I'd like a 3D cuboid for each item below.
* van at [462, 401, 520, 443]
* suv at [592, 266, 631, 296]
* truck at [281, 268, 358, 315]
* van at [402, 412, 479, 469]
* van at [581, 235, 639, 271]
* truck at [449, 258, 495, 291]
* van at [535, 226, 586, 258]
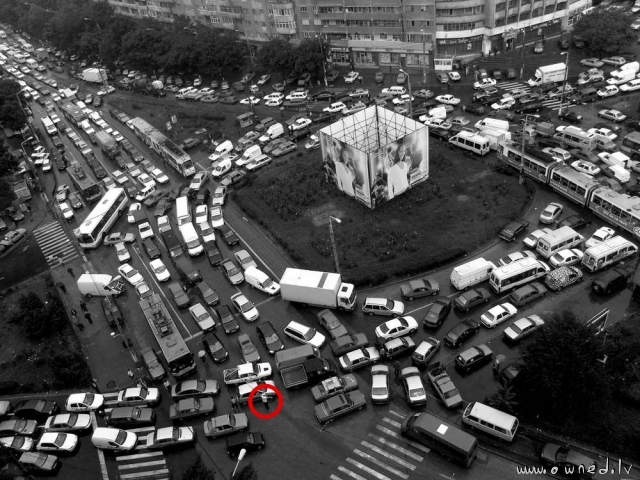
[{"bbox_3d":[17.981,19.180,59.090,5.036,2.269,3.208,22,59,21],"label":"van"},{"bbox_3d":[35.639,5.306,68.802,4.806,2.361,2.439,-30,42,-15],"label":"suv"},{"bbox_3d":[0.171,5.280,72.065,10.822,5.784,4.535,7,57,10],"label":"truck"},{"bbox_3d":[12.147,20.075,58.361,7.456,3.034,2.795,22,44,23],"label":"van"},{"bbox_3d":[36.448,1.714,70.846,6.161,2.389,2.109,-20,45,-8],"label":"van"},{"bbox_3d":[19.846,3.899,71.539,5.543,2.891,3.109,-20,40,-6],"label":"truck"},{"bbox_3d":[31.512,-0.134,73.501,6.015,3.284,3.057,-33,46,-9],"label":"van"}]
